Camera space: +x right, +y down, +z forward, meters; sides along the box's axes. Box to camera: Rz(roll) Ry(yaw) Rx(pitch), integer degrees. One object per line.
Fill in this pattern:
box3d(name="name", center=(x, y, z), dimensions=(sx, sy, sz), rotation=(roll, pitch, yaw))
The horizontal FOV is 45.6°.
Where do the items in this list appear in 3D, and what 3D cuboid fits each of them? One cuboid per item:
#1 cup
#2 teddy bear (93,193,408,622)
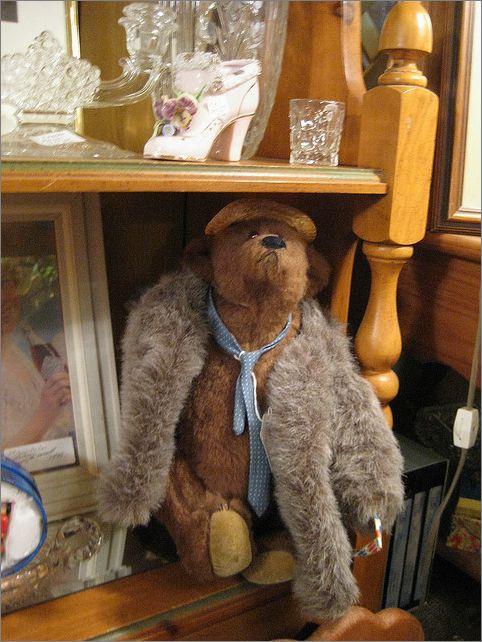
box3d(name="cup", center=(0.096, -0.241, 0.766), dimensions=(0.094, 0.099, 0.096), rotation=(4, 14, -1))
box3d(name="teddy bear", center=(0.032, 0.092, 0.687), dimensions=(0.353, 0.415, 0.305), rotation=(13, 29, 18))
